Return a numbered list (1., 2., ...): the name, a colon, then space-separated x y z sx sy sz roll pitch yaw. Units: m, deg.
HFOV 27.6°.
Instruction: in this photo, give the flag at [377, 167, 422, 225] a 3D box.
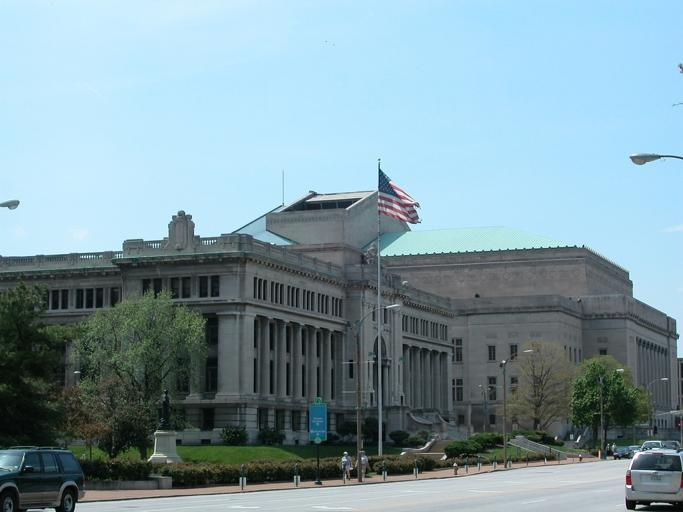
1. flag: 5.235 -5.475 128.238 3.352 4.807 1.366 6 -17 -21
